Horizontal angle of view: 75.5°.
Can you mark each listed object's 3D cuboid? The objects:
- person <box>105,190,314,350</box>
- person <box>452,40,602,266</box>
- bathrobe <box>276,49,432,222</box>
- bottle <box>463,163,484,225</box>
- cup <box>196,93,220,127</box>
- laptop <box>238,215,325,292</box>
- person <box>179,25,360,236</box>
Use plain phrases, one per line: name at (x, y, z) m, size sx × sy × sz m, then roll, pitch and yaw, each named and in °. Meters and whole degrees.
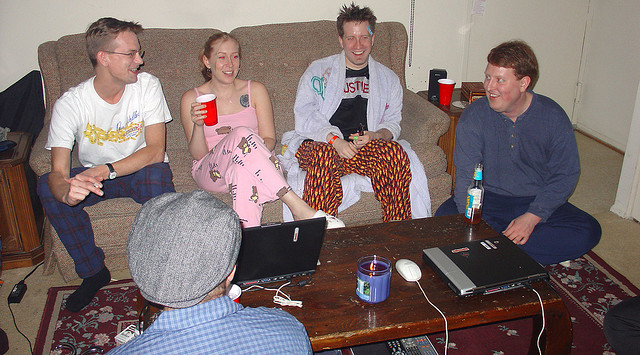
person at (-0.551, 0.488, 2.139) m, size 1.094 × 0.796 × 0.508 m, roll -7°, pitch 29°, yaw -5°
person at (1.560, -0.152, 3.076) m, size 1.070 × 1.629 × 0.621 m, roll 9°, pitch 26°, yaw 23°
bathrobe at (0.243, -0.372, 3.508) m, size 1.228 × 1.323 × 0.794 m, roll -3°, pitch 23°, yaw -5°
bottle at (1.065, 0.106, 2.835) m, size 0.119 × 0.404 × 0.200 m, roll 7°, pitch 25°, yaw 19°
cup at (-0.848, -0.512, 3.180) m, size 0.110 × 0.251 × 0.124 m, roll 9°, pitch 25°, yaw 22°
laptop at (-0.262, 0.439, 2.645) m, size 0.647 × 0.384 × 0.423 m, roll -4°, pitch 24°, yaw -14°
person at (-0.637, -0.554, 3.496) m, size 1.215 × 1.233 × 1.881 m, roll -18°, pitch 44°, yaw -21°
